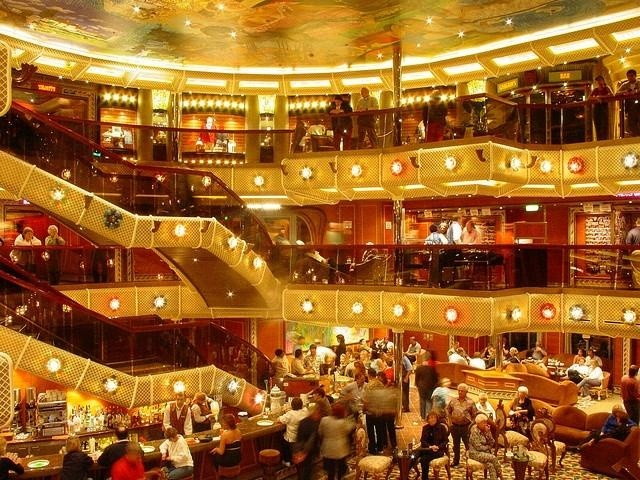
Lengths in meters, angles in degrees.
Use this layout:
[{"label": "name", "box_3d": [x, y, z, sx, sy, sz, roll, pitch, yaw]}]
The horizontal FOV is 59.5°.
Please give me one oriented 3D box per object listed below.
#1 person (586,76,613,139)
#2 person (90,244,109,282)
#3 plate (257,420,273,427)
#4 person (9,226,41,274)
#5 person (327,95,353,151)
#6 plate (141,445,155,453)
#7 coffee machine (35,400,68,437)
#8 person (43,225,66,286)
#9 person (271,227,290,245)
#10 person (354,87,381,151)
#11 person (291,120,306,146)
[{"label": "person", "box_3d": [7.368, -3.457, 14.716, 0.506, 1.729, 0.560, -6, -11, 27]}, {"label": "person", "box_3d": [-6.150, 0.684, 15.507, 0.297, 0.942, 0.760, -1, -10, -3]}, {"label": "plate", "box_3d": [-1.349, 4.441, 13.713, 0.428, 0.116, 0.525, -2, -11, 2]}, {"label": "person", "box_3d": [-7.400, 0.186, 14.063, 0.652, 1.214, 1.516, 4, -12, -29]}, {"label": "person", "box_3d": [0.594, -3.510, 16.375, 0.644, 1.845, 0.875, -1, -10, 0]}, {"label": "plate", "box_3d": [-3.718, 4.503, 12.164, 0.230, 0.033, 0.227, 4, 3, -20]}, {"label": "coffee machine", "box_3d": [-6.149, 4.099, 13.061, 0.673, 0.942, 0.705, 6, -13, -38]}, {"label": "person", "box_3d": [-6.914, 0.342, 14.559, 0.432, 1.559, 1.164, 4, -11, -26]}, {"label": "person", "box_3d": [-1.224, -0.067, 17.252, 0.659, 0.335, 0.887, 6, 6, -4]}, {"label": "person", "box_3d": [1.355, -3.578, 16.362, 0.575, 2.116, 1.472, -2, -10, 5]}, {"label": "person", "box_3d": [-0.617, -3.257, 16.812, 0.286, 0.937, 0.641, 3, -11, -22]}]
